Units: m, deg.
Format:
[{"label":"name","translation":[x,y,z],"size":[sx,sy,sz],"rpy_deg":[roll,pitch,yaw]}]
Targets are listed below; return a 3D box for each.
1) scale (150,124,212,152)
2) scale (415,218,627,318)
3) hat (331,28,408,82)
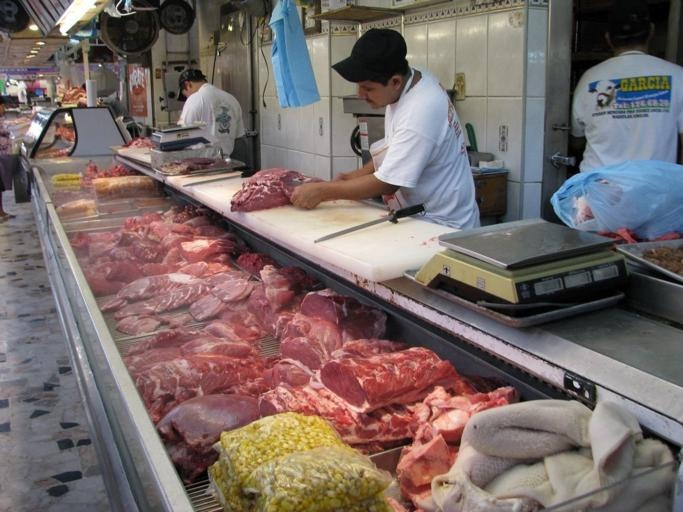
[{"label":"scale","translation":[-1.360,-1.012,3.876],"size":[0.390,0.160,0.281],"rpy_deg":[-14,25,-32]},{"label":"scale","translation":[0.541,0.029,1.361],"size":[0.492,0.201,0.412],"rpy_deg":[-13,18,-26]},{"label":"hat","translation":[0.156,-1.066,2.332],"size":[0.406,0.202,0.273],"rpy_deg":[-8,47,-15]}]
